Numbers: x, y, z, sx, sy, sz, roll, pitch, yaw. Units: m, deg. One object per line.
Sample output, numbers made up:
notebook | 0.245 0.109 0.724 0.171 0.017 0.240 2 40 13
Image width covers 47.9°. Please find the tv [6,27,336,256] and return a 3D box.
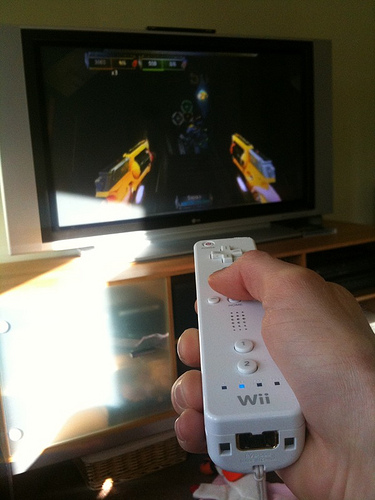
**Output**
tv | -0.078 -0.336 1.295 0.794 0.478 0.054 -5 9 -21
